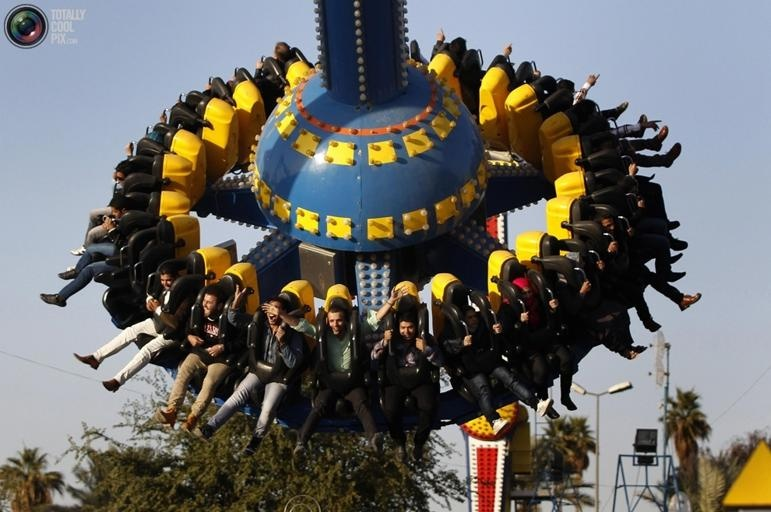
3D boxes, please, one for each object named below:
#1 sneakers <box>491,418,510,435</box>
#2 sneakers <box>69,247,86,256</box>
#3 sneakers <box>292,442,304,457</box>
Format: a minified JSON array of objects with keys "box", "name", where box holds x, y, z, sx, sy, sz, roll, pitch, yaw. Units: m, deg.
[{"box":[2.530,3.860,24.623,0.239,0.255,0.640,-33,-19,-16],"name":"sneakers"},{"box":[-6.333,-0.060,22.955,0.260,0.086,0.181,16,-57,4],"name":"sneakers"},{"box":[-1.854,4.251,23.876,0.288,0.163,0.380,0,-76,-4],"name":"sneakers"}]
